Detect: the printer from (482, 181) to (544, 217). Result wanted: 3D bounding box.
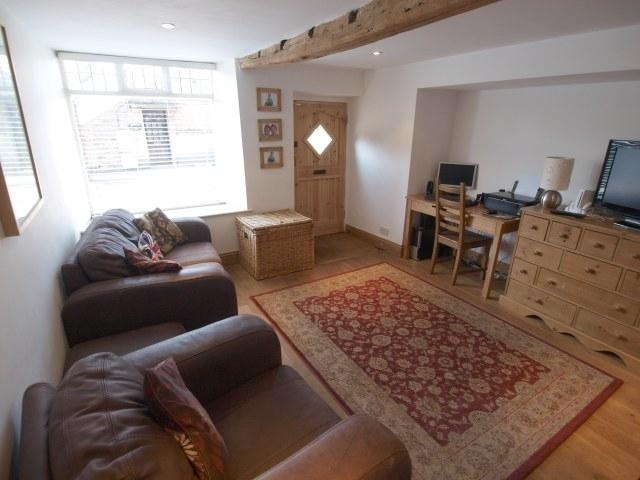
[{"bbox_3d":[2.001,-0.407,4.665,0.428,0.316,0.428,-9,20,-24],"label":"printer"}]

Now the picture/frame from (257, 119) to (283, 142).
[{"bbox_3d":[-0.609,-1.307,5.334,0.267,0.233,0.022,-11,24,-29],"label":"picture/frame"}]

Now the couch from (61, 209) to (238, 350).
[{"bbox_3d":[-1.399,0.163,3.528,0.810,0.597,1.152,-11,27,-21],"label":"couch"}]

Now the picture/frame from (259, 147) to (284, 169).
[{"bbox_3d":[-0.600,-1.002,5.434,0.245,0.213,0.017,-10,22,-30],"label":"picture/frame"}]

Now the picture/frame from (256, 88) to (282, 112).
[{"bbox_3d":[-0.609,-1.640,5.240,0.283,0.218,0.013,-10,19,-34],"label":"picture/frame"}]

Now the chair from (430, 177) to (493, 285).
[{"bbox_3d":[1.589,-0.113,5.048,0.626,1.467,0.621,-18,28,-21],"label":"chair"}]

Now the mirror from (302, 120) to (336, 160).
[{"bbox_3d":[-0.035,-1.383,6.140,0.453,0.453,0.051,-24,39,-28],"label":"mirror"}]

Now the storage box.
[{"bbox_3d":[-0.523,-0.078,5.257,0.825,0.702,0.728,-10,23,-25],"label":"storage box"}]

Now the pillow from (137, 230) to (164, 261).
[{"bbox_3d":[-1.505,0.053,3.976,0.096,0.127,0.304,-18,47,-31],"label":"pillow"}]

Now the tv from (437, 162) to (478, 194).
[{"bbox_3d":[1.600,-0.728,5.240,0.410,0.304,0.109,12,22,30],"label":"tv"}]
